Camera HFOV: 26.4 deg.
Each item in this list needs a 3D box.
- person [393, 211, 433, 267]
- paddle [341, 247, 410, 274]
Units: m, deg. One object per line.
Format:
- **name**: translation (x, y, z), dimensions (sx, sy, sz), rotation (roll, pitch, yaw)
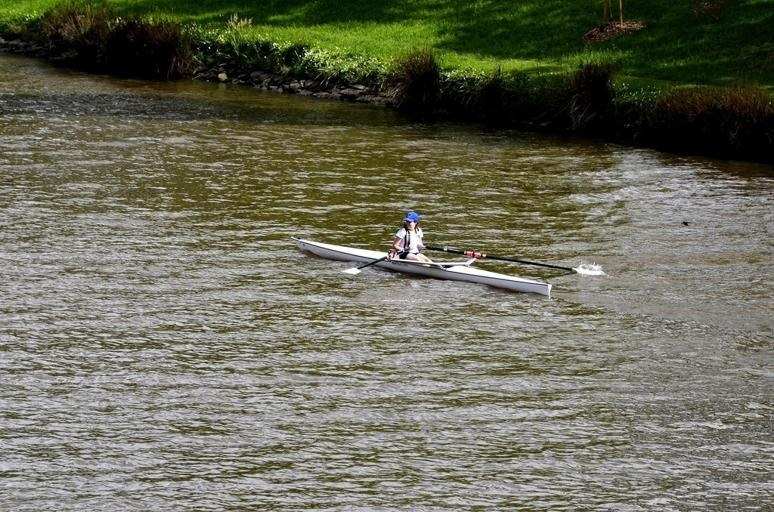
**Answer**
- **person**: translation (0.744, -0.557, 47.189), dimensions (1.077, 1.367, 1.395), rotation (3, 12, 1)
- **paddle**: translation (-0.315, 0.198, 47.120), dimensions (2.729, 0.123, 0.396), rotation (-10, 25, -21)
